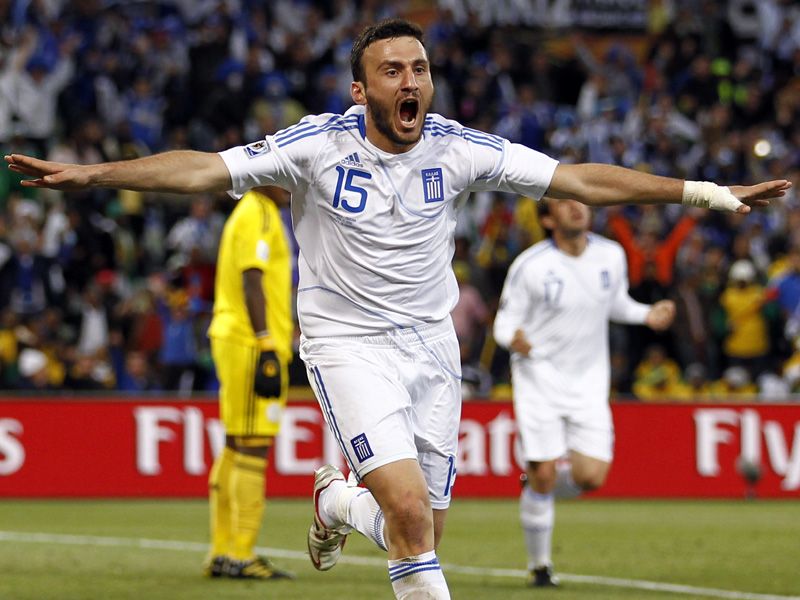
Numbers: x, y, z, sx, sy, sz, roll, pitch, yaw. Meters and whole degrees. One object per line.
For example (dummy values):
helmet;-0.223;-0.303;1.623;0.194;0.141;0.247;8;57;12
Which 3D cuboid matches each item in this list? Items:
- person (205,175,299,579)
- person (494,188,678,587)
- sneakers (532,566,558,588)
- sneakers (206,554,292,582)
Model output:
person;-1.167;0.642;10.390;0.647;3.027;0.519;1;3;-13
person;1.433;0.706;11.166;1.198;3.064;1.104;0;3;-25
sneakers;1.128;2.211;10.594;0.121;0.188;0.180;1;-11;-36
sneakers;-1.192;2.060;10.322;0.567;0.177;0.227;0;-2;-11
